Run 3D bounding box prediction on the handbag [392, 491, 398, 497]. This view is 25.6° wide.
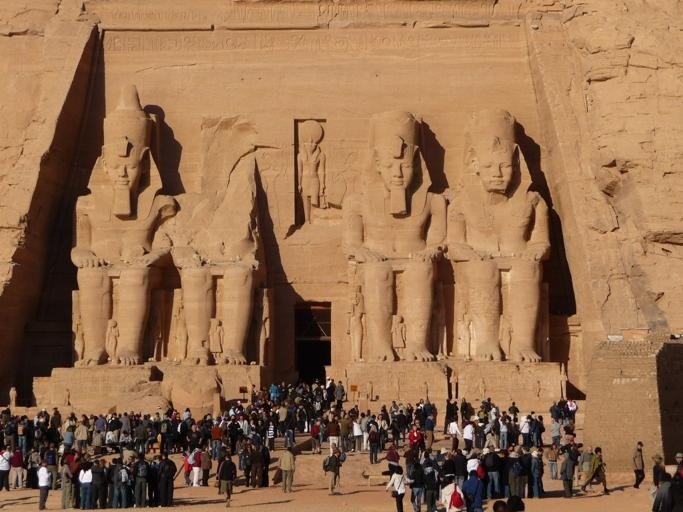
[{"bbox_3d":[0.815,3.618,23.177,0.108,0.023,0.103,0,7,-2],"label":"handbag"}]

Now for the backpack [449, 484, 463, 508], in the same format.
[{"bbox_3d":[1.736,3.552,22.470,0.178,0.352,0.322,-7,-13,23],"label":"backpack"}]

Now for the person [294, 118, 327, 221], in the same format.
[{"bbox_3d":[-0.690,-1.966,33.360,0.643,2.267,0.381,-3,-12,2],"label":"person"}]
